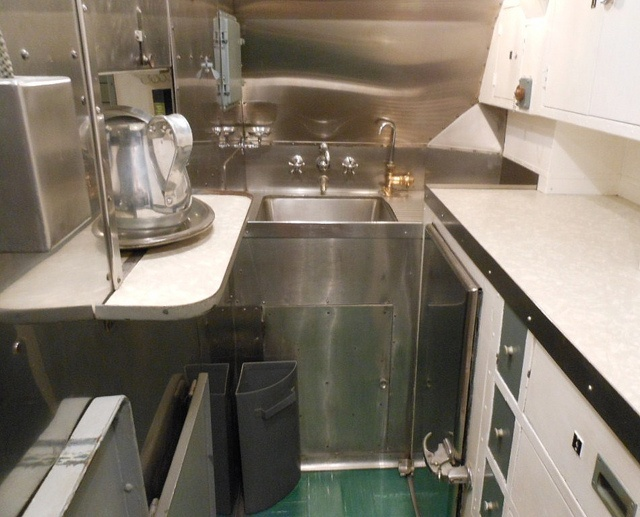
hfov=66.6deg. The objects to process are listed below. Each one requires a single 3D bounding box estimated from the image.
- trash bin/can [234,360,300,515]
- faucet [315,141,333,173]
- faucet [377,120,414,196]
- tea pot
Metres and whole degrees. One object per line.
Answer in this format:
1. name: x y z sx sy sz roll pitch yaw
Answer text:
1. trash bin/can: -0.222 0.780 2.167 0.267 0.590 0.295 -2 20 -4
2. faucet: 0.019 -0.571 2.822 0.085 0.174 0.159 0 21 0
3. faucet: 0.436 -0.580 2.801 0.226 0.405 0.194 3 20 7
4. tea pot: -0.341 -0.174 0.989 0.158 0.244 0.140 -10 23 -25
